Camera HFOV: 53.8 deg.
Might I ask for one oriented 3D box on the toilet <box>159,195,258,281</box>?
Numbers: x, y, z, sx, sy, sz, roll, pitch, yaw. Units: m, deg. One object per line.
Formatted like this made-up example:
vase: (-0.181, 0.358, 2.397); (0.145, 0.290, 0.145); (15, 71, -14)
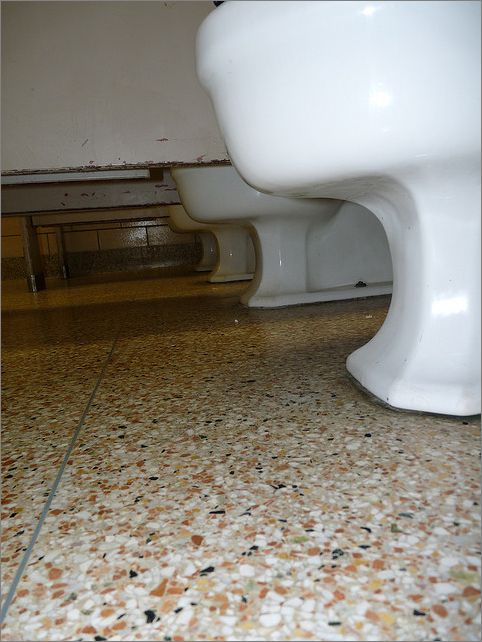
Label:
toilet: (-0.291, -0.436, 2.586); (0.686, 0.447, 0.500); (-1, 16, -8)

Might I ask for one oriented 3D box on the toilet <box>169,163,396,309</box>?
toilet: (0.121, -0.281, 1.473); (0.708, 0.432, 0.347); (-2, 21, -7)
